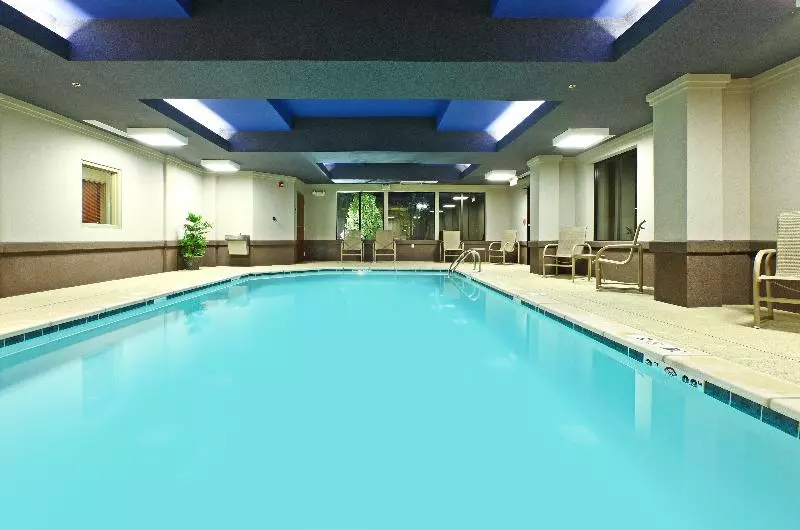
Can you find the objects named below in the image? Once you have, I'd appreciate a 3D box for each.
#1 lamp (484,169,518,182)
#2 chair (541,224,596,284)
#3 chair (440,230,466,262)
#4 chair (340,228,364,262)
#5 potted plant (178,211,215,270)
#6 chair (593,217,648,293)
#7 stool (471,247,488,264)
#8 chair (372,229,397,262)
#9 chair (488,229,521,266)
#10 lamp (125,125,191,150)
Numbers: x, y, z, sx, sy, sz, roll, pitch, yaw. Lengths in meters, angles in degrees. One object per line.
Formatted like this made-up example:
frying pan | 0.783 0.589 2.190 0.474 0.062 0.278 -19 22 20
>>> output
lamp | 3.002 -2.656 15.700 0.800 0.372 3.757 0 9 10
chair | 3.526 -0.260 11.154 0.888 1.058 0.787 3 8 44
chair | 1.716 -0.694 17.882 1.047 1.312 0.987 0 0 -5
chair | -1.618 -0.669 17.847 0.906 1.294 1.002 0 0 -1
potted plant | -5.249 -0.659 13.437 0.677 1.425 1.278 -1 9 4
chair | 4.091 -0.139 9.757 1.181 1.242 1.144 -2 0 -34
stool | 2.696 -0.381 17.964 0.705 0.644 0.658 0 0 -1
chair | -0.540 -0.725 17.961 1.017 1.461 1.005 0 -2 -1
chair | 3.410 -0.565 16.939 1.141 1.471 1.140 0 -1 -30
lamp | -4.732 -2.494 10.048 0.878 0.277 0.845 0 9 11
